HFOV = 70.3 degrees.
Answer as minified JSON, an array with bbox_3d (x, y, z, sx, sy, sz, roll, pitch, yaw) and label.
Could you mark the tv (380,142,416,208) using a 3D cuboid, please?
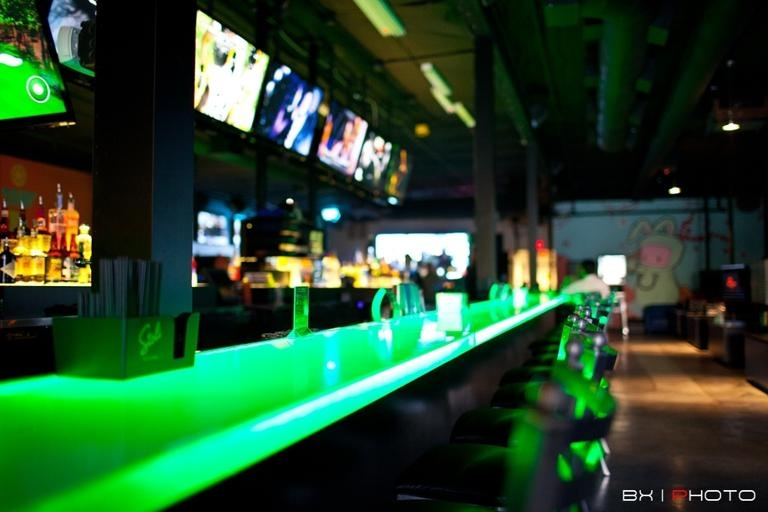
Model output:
[{"bbox_3d":[0.274,-1.620,10.577,0.221,1.630,1.718,2,2,19],"label":"tv"}]
